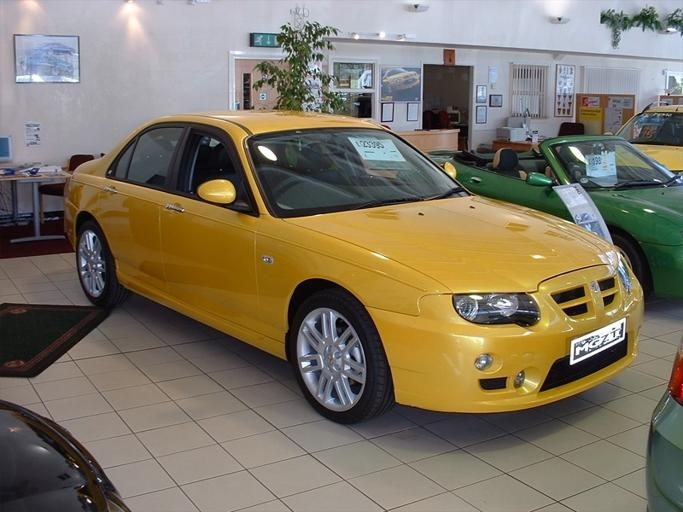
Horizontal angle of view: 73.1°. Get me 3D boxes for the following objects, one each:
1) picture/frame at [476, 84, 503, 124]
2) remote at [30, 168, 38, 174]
[{"bbox_3d":[4.623,-4.770,14.430,1.539,1.390,0.085,-4,8,-29],"label":"picture/frame"},{"bbox_3d":[-5.233,-1.436,7.847,0.131,0.099,0.431,-8,16,-32],"label":"remote"}]
